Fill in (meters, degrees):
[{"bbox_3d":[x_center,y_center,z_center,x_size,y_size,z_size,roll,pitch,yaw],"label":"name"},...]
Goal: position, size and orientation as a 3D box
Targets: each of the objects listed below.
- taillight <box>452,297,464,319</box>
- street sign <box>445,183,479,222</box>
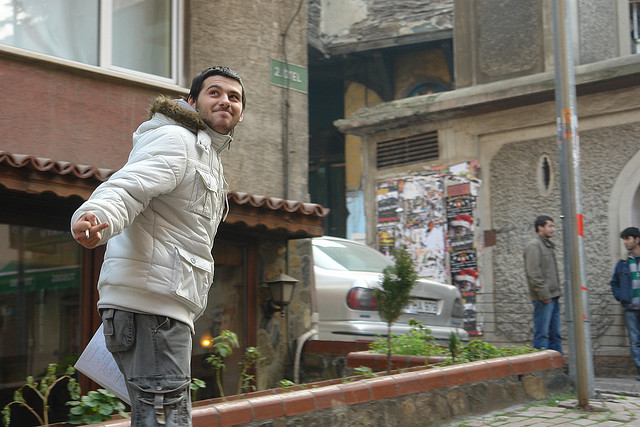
[{"bbox_3d":[2.232,1.587,23.964,0.095,0.343,0.359,-7,-12,21],"label":"taillight"},{"bbox_3d":[2.595,-0.163,26.798,0.780,0.776,0.098,-13,-25,38],"label":"street sign"}]
